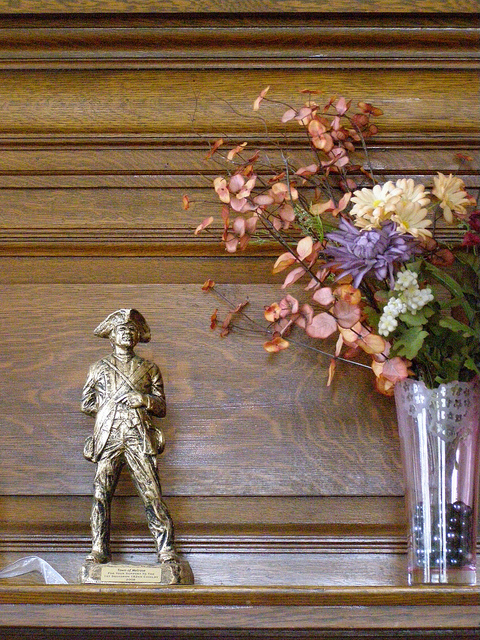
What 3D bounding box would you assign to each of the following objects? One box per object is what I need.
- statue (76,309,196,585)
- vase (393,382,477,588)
[{"bbox_3d":[-0.140,0.168,1.382,0.166,0.394,0.241,1,-9,-7],"label":"statue"},{"bbox_3d":[0.254,0.211,1.296,0.104,0.258,0.058,-2,-10,11],"label":"vase"}]
